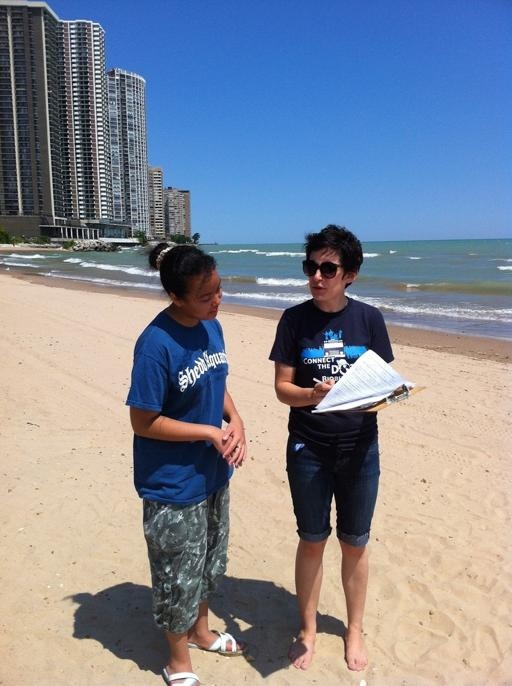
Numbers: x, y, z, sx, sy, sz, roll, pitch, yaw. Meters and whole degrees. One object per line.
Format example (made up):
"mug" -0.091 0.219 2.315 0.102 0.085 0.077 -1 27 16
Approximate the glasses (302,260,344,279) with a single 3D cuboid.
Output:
"glasses" 0.303 -0.346 2.694 0.127 0.051 0.124 3 -9 35

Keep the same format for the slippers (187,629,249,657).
"slippers" -0.173 1.531 2.992 0.243 0.066 0.114 4 8 -9

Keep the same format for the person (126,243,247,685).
"person" -0.279 0.435 2.580 0.405 1.708 0.568 9 16 33

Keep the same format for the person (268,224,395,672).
"person" 0.381 0.536 2.874 0.570 2.192 0.516 -5 15 -23
